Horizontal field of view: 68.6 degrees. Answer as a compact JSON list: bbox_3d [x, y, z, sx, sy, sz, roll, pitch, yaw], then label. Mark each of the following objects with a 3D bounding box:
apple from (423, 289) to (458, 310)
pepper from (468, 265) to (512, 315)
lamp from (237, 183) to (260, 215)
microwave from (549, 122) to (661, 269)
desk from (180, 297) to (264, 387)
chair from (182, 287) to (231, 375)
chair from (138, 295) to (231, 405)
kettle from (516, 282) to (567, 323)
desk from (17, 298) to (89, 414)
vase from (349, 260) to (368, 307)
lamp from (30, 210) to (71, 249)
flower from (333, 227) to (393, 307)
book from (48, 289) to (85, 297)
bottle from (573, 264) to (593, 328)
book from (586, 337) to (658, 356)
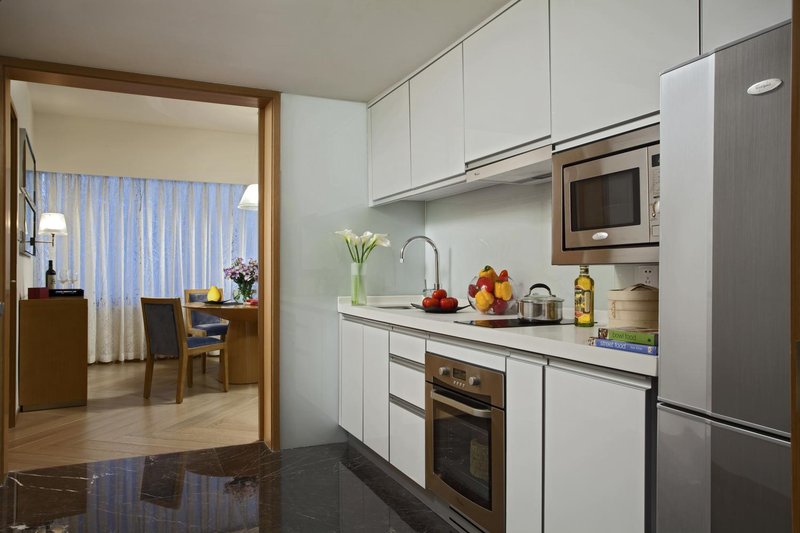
[{"bbox_3d":[0.277,0.220,3.708,0.149,0.061,0.152,3,6,34],"label":"apple"},{"bbox_3d":[0.508,0.145,3.530,0.242,0.283,0.280,2,-10,-1],"label":"pepper"},{"bbox_3d":[-1.585,-0.730,6.125,0.173,0.245,0.466,-2,7,-16],"label":"lamp"},{"bbox_3d":[1.071,-0.286,2.740,0.413,0.580,0.609,3,-4,-38],"label":"microwave"},{"bbox_3d":[-1.647,0.760,5.911,0.961,0.699,0.937,-2,-2,41],"label":"desk"},{"bbox_3d":[-2.174,0.715,6.815,0.627,0.880,0.629,1,2,23],"label":"chair"},{"bbox_3d":[-2.161,0.752,5.826,0.804,1.003,1.115,-4,8,-31],"label":"chair"},{"bbox_3d":[0.734,0.194,3.105,0.214,0.197,0.221,1,-1,13],"label":"kettle"},{"bbox_3d":[-3.082,0.776,5.210,0.542,0.961,0.226,-5,8,-33],"label":"desk"},{"bbox_3d":[-0.300,0.124,4.220,0.099,0.303,0.201,-1,7,-5],"label":"vase"},{"bbox_3d":[-3.651,-0.373,6.114,0.328,0.316,0.245,-2,-2,-25],"label":"lamp"},{"bbox_3d":[-0.288,0.022,4.457,0.539,0.620,0.490,1,-5,-5],"label":"flower"},{"bbox_3d":[-3.095,0.246,5.439,0.263,0.069,0.254,-5,9,-35],"label":"book"},{"bbox_3d":[0.897,0.145,2.856,0.096,0.306,0.079,-5,8,-34],"label":"bottle"},{"bbox_3d":[0.865,0.311,2.302,0.033,0.046,0.293,-6,9,-39],"label":"book"}]
